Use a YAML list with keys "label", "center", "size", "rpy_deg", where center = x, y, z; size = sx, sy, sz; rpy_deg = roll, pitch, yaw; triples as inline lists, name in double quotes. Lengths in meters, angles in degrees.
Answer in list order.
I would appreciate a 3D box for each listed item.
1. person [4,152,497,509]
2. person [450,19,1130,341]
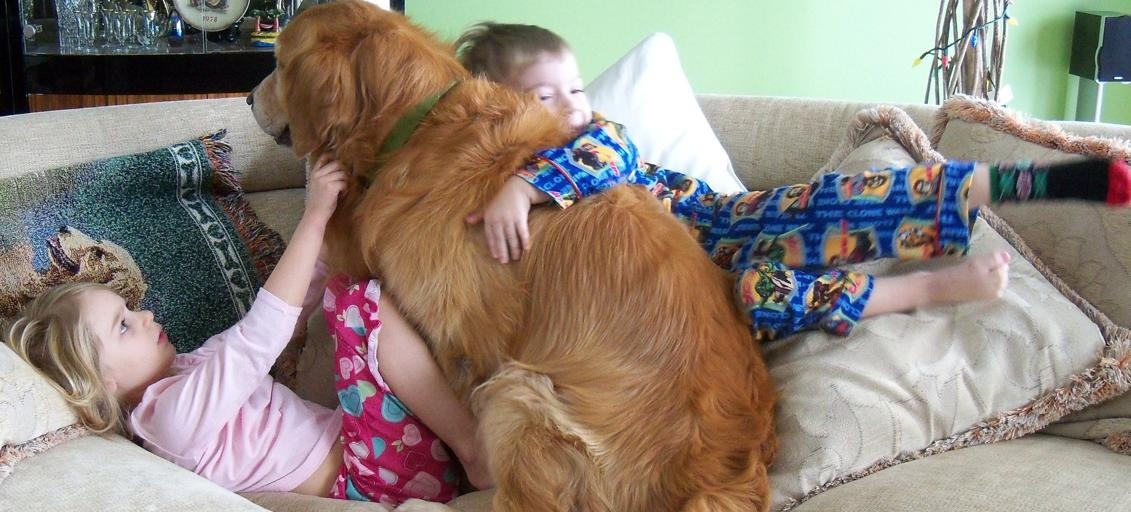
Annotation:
- label: "person"
  center: [-1.048, 0.325, 3.061]
  size: [1.719, 0.956, 1.099]
  rpy_deg: [3, -1, -25]
- label: "person"
  center: [0.443, -0.291, 3.247]
  size: [2.910, 1.096, 0.905]
  rpy_deg: [-4, 28, 31]
